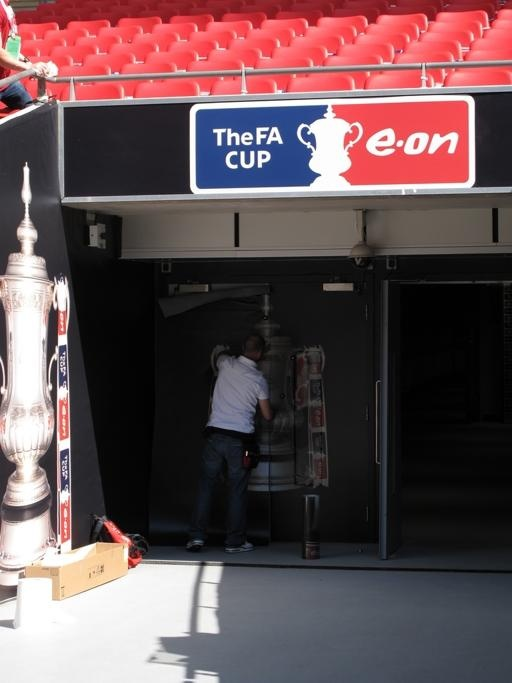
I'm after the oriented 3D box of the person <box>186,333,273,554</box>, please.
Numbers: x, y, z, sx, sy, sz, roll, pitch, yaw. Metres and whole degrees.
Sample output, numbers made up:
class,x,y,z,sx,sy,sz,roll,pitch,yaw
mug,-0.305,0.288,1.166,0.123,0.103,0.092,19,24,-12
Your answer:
class,x,y,z,sx,sy,sz,roll,pitch,yaw
person,-0.151,0.737,5.977,0.605,1.534,0.515,4,-3,25

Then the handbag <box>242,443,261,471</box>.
class,x,y,z,sx,sy,sz,roll,pitch,yaw
handbag,-0.029,0.839,5.736,0.087,0.160,0.144,0,0,15

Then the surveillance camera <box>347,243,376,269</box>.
class,x,y,z,sx,sy,sz,roll,pitch,yaw
surveillance camera,0.759,-0.611,5.653,0.142,0.185,0.205,-1,-5,9

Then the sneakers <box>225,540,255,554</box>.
class,x,y,z,sx,sy,sz,roll,pitch,yaw
sneakers,-0.114,1.487,5.750,0.210,0.076,0.076,-1,3,-40
